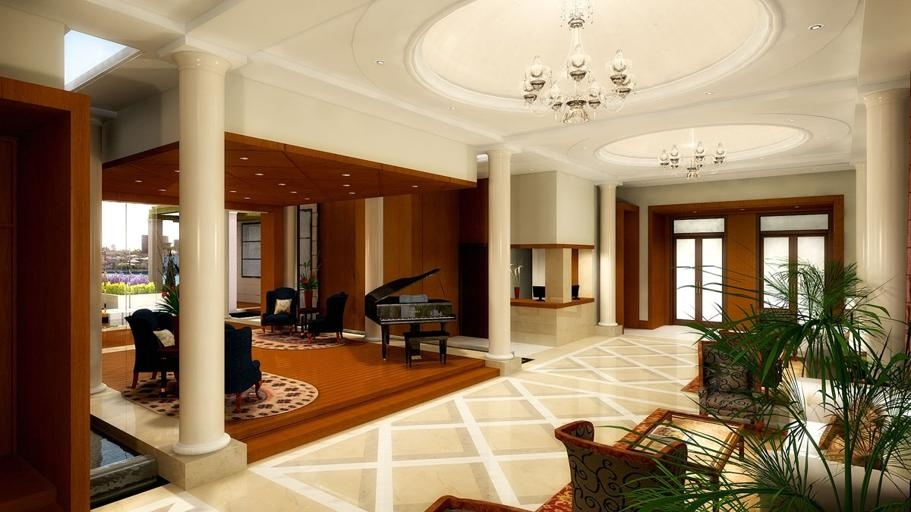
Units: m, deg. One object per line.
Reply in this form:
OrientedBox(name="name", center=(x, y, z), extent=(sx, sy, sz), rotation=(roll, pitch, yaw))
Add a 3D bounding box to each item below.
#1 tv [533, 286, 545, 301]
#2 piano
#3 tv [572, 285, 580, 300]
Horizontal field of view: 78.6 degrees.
OrientedBox(name="tv", center=(2.154, 0.958, 14.509), extent=(0.396, 0.315, 0.202), rotation=(-3, -7, 34))
OrientedBox(name="piano", center=(-1.046, 1.158, 11.768), extent=(1.793, 1.823, 2.235), rotation=(-1, 4, -29))
OrientedBox(name="tv", center=(3.187, 0.957, 14.916), extent=(0.343, 0.343, 0.315), rotation=(2, 2, 8))
